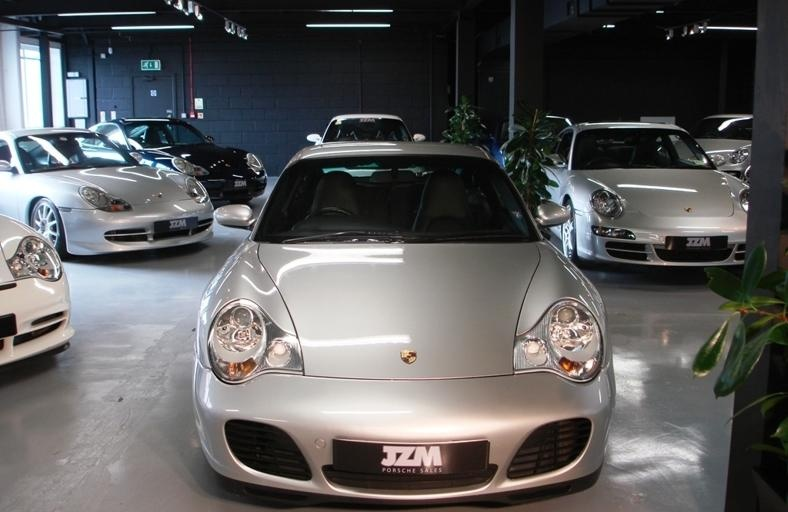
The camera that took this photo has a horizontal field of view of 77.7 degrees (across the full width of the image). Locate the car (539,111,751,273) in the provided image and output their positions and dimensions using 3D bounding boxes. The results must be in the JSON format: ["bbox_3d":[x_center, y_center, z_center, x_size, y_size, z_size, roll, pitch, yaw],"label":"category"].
[{"bbox_3d":[2.539,-0.691,4.889,1.382,0.973,2.787,0,7,0],"label":"car"}]

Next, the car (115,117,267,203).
[{"bbox_3d":[-3.924,-1.723,9.196,3.246,1.026,1.384,20,17,36],"label":"car"}]

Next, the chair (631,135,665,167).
[{"bbox_3d":[2.960,-1.197,5.599,0.352,0.554,0.170,0,-12,5],"label":"chair"}]

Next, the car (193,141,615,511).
[{"bbox_3d":[0.023,0.040,2.752,1.292,0.825,2.385,0,12,0],"label":"car"}]
